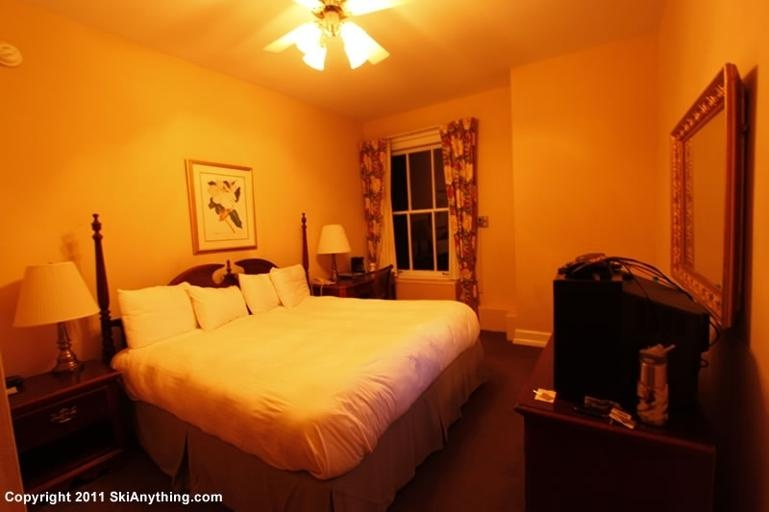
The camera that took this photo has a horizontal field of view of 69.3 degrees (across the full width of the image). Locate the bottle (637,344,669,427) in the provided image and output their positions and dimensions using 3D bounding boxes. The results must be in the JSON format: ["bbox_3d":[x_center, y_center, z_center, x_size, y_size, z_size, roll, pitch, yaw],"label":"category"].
[{"bbox_3d":[1.581,0.757,3.274,0.185,0.458,0.097,-1,4,15],"label":"bottle"}]

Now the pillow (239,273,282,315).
[{"bbox_3d":[-1.279,0.425,5.519,0.115,0.397,0.358,-33,-21,36],"label":"pillow"}]

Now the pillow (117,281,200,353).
[{"bbox_3d":[-1.906,0.533,4.658,0.186,0.405,0.528,-13,-4,35],"label":"pillow"}]

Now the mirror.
[{"bbox_3d":[2.172,-0.396,3.726,0.176,1.581,0.950,-1,4,11],"label":"mirror"}]

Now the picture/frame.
[{"bbox_3d":[-1.651,-0.491,5.500,0.073,1.107,0.817,2,9,38],"label":"picture/frame"}]
